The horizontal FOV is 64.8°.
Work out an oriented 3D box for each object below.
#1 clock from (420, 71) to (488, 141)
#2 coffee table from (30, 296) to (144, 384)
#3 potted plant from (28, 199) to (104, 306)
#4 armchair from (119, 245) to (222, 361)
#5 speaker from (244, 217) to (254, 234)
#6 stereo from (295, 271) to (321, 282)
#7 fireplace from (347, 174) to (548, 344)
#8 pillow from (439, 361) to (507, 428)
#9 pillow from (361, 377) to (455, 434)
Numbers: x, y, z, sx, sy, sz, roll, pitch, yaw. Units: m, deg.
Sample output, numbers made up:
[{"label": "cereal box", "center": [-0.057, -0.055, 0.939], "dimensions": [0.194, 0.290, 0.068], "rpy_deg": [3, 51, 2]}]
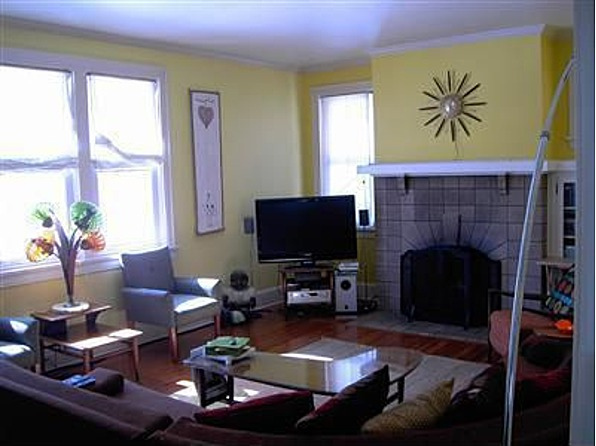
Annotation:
[{"label": "clock", "center": [1.195, -0.881, 3.599], "dimensions": [0.464, 0.468, 0.167], "rpy_deg": [-13, -3, 39]}, {"label": "coffee table", "center": [-1.355, 0.830, 3.031], "dimensions": [0.540, 0.470, 0.439], "rpy_deg": [6, 7, 35]}, {"label": "potted plant", "center": [-1.497, 0.189, 3.072], "dimensions": [0.520, 0.748, 0.467], "rpy_deg": [-2, -3, -4]}, {"label": "armchair", "center": [-0.927, 0.583, 3.809], "dimensions": [0.755, 0.954, 0.768], "rpy_deg": [0, 3, 32]}, {"label": "speaker", "center": [-0.447, 0.029, 4.391], "dimensions": [0.053, 0.144, 0.110], "rpy_deg": [6, 12, 44]}, {"label": "stereo", "center": [0.096, 0.496, 4.309], "dimensions": [0.239, 0.101, 0.065], "rpy_deg": [-3, 8, -4]}, {"label": "fireplace", "center": [1.179, 0.231, 3.880], "dimensions": [1.431, 1.319, 0.747], "rpy_deg": [-1, 3, 42]}, {"label": "pillow", "center": [0.531, 0.534, 1.419], "dimensions": [0.211, 0.071, 0.128], "rpy_deg": [-27, 18, -33]}, {"label": "pillow", "center": [0.321, 0.524, 1.378], "dimensions": [0.203, 0.075, 0.184], "rpy_deg": [-28, -7, 0]}]
